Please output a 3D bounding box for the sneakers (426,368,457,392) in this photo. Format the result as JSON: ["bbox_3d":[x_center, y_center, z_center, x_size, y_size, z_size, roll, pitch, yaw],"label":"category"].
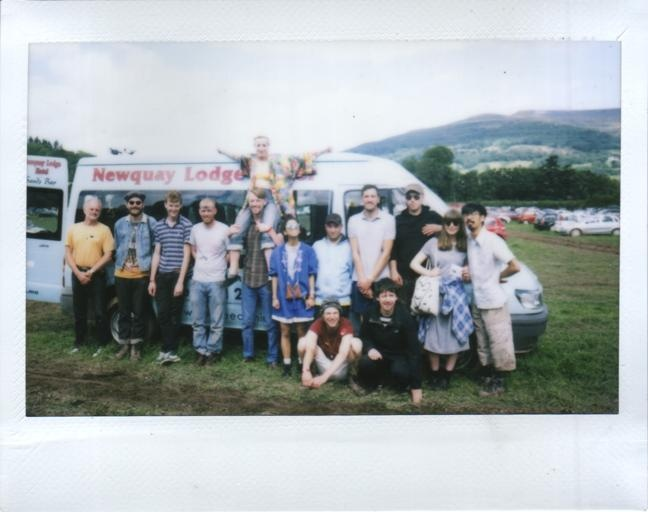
[{"bbox_3d":[1.211,1.282,6.473,0.282,0.156,0.129,3,-9,-1],"label":"sneakers"}]

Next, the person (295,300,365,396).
[{"bbox_3d":[0.027,0.929,6.430,0.878,0.868,0.758,-7,10,-32],"label":"person"}]

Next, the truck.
[{"bbox_3d":[0.015,-0.133,7.713,7.045,2.673,2.163,0,6,2],"label":"truck"}]

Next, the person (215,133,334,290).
[{"bbox_3d":[-0.635,-0.544,6.635,1.359,1.451,0.504,4,1,17],"label":"person"}]

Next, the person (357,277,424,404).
[{"bbox_3d":[0.671,0.891,6.384,0.740,1.196,0.621,0,2,27],"label":"person"}]

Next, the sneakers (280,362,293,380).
[{"bbox_3d":[-0.387,1.213,6.616,0.088,0.153,0.149,3,5,-18],"label":"sneakers"}]

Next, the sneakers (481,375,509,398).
[{"bbox_3d":[1.743,1.325,6.412,0.356,0.168,0.135,-7,5,26],"label":"sneakers"}]

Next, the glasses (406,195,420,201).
[{"bbox_3d":[0.915,-0.602,6.468,0.135,0.046,0.019,-1,5,5],"label":"glasses"}]

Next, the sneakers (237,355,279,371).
[{"bbox_3d":[-0.693,1.143,6.705,0.431,0.190,0.134,-1,-1,5],"label":"sneakers"}]
